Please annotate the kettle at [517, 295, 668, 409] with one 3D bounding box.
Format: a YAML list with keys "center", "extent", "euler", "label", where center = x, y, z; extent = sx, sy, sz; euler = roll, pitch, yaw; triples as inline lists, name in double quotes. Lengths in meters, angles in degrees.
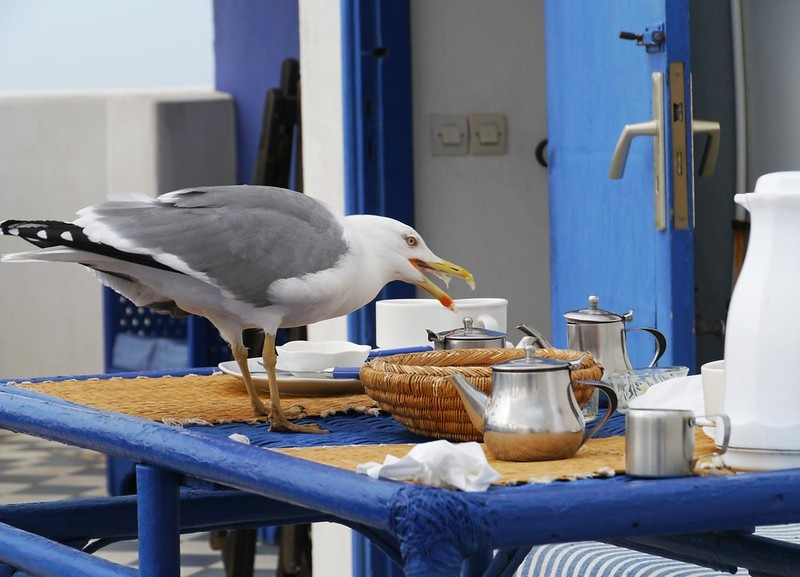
- center: [0.347, 0.106, 2.485]
  extent: [0.259, 0.181, 0.106]
  euler: [-3, -7, 5]
  label: "kettle"

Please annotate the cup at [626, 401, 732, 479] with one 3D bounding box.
- center: [0.404, 0.227, 2.056]
  extent: [0.159, 0.098, 0.094]
  euler: [1, 1, 34]
  label: "cup"

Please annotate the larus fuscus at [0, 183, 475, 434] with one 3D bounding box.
- center: [-0.247, 0.046, 2.466]
  extent: [0.813, 0.418, 0.332]
  euler: [7, -8, -15]
  label: "larus fuscus"

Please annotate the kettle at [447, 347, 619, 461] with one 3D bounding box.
- center: [0.204, 0.172, 2.166]
  extent: [0.260, 0.181, 0.163]
  euler: [0, 0, 18]
  label: "kettle"
